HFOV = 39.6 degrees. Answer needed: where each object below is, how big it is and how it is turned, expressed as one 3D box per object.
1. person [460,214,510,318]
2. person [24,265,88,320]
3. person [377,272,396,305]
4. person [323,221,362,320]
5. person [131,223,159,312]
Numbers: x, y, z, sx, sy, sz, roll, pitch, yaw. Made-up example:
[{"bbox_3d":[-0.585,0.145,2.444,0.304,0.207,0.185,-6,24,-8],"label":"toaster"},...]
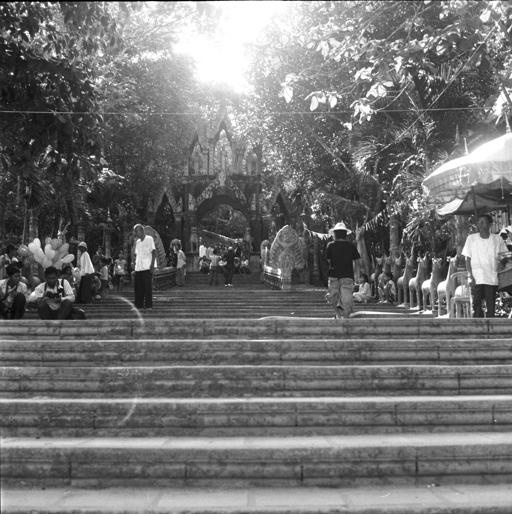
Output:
[{"bbox_3d":[3.165,0.126,9.785,0.586,1.398,0.298,-1,-2,20],"label":"person"},{"bbox_3d":[-2.890,0.521,10.252,0.650,0.752,0.650,-3,-3,43],"label":"person"},{"bbox_3d":[3.101,0.760,16.907,0.429,0.991,0.606,3,-10,8],"label":"person"},{"bbox_3d":[1.306,0.179,10.637,0.492,1.480,0.994,-1,-2,8],"label":"person"},{"bbox_3d":[-1.939,0.240,12.264,0.357,1.314,0.665,0,-2,-11],"label":"person"}]
